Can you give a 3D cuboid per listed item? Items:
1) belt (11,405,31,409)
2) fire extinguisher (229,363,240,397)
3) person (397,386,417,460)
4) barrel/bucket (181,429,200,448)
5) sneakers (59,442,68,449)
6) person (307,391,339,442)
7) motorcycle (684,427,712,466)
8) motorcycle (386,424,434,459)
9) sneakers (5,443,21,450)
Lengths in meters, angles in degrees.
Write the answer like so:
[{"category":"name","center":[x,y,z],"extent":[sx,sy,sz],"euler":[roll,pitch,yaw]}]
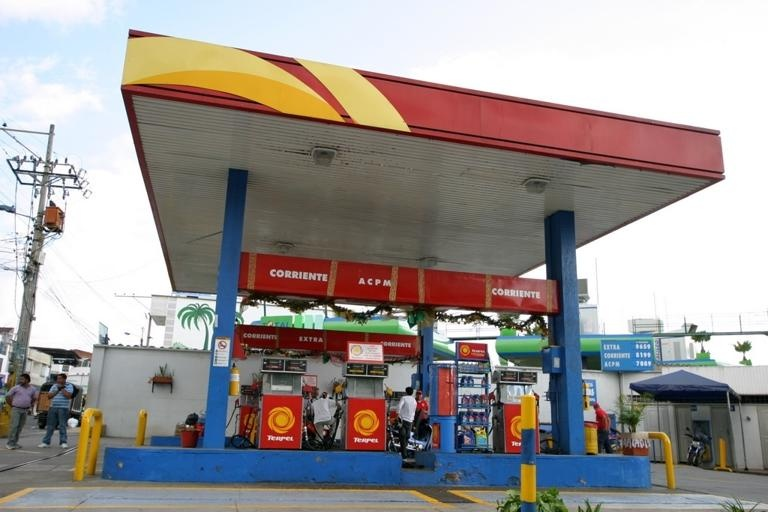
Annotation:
[{"category":"belt","center":[-8.701,3.645,14.924],"extent":[0.377,0.107,0.164],"euler":[10,-16,-36]},{"category":"fire extinguisher","center":[-3.044,2.527,12.618],"extent":[0.187,0.548,0.413],"euler":[4,-14,-16]},{"category":"person","center":[0.494,3.879,14.125],"extent":[0.362,1.371,0.390],"euler":[2,-13,-8]},{"category":"barrel/bucket","center":[-4.562,4.296,14.584],"extent":[0.517,0.451,0.490],"euler":[2,-24,1]},{"category":"sneakers","center":[-8.042,4.796,15.633],"extent":[0.163,0.165,0.416],"euler":[7,-20,-30]},{"category":"person","center":[-1.420,3.804,14.752],"extent":[0.578,1.093,1.412],"euler":[1,-13,-3]},{"category":"motorcycle","center":[10.272,6.297,20.487],"extent":[0.717,1.136,0.786],"euler":[-12,-18,43]},{"category":"motorcycle","center":[0.645,4.242,14.250],"extent":[1.196,0.745,0.639],"euler":[13,-38,0]},{"category":"sneakers","center":[-8.780,4.518,14.731],"extent":[0.410,0.172,0.138],"euler":[-16,-22,37]}]
